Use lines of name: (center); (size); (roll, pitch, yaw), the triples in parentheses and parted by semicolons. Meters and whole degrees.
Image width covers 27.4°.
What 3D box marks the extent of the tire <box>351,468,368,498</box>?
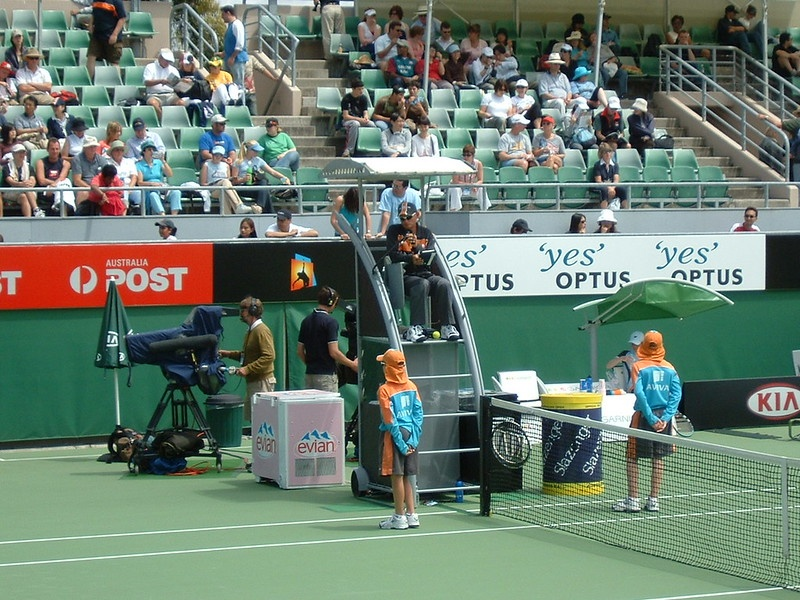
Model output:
tire: (-0.649, 2.947, 26.174); (0.172, 0.473, 0.424); (1, -3, -18)

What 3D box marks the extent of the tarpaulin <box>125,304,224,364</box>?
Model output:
tarpaulin: (-3.848, 0.594, 28.294); (2.015, 1.154, 0.729); (1, 13, -4)

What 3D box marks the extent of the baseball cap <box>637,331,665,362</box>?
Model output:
baseball cap: (3.926, 0.708, 25.650); (0.324, 0.322, 0.530); (4, 23, 11)

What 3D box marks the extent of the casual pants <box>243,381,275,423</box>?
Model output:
casual pants: (-2.462, 1.714, 27.970); (0.597, 1.057, 0.607); (1, -4, -13)

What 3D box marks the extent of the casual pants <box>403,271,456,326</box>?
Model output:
casual pants: (0.515, -0.050, 26.485); (0.649, 0.816, 0.696); (-7, 7, -22)

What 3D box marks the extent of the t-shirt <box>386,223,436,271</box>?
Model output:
t-shirt: (0.168, -0.782, 26.460); (0.589, 0.830, 0.210); (-22, 7, -23)

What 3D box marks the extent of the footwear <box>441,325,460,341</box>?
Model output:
footwear: (0.779, 0.553, 26.082); (0.154, 0.153, 0.343); (-2, -4, -19)

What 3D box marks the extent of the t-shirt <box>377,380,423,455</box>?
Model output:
t-shirt: (0.020, 1.799, 24.460); (0.599, 1.109, 0.492); (-6, 8, -29)

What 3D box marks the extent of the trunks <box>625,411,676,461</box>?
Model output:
trunks: (3.802, 2.131, 25.110); (0.703, 0.629, 0.755); (-1, 10, 8)

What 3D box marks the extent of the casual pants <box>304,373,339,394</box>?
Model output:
casual pants: (-1.349, 1.475, 27.921); (0.485, 0.503, 0.300); (1, -4, -11)

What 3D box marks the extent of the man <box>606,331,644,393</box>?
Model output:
man: (4.113, 1.353, 29.638); (0.484, 0.570, 1.045); (-14, -28, -5)

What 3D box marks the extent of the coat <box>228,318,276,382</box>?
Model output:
coat: (-2.453, 0.899, 27.941); (0.571, 0.992, 0.534); (-4, 9, -6)

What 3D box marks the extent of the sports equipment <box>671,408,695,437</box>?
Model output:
sports equipment: (4.914, 2.156, 28.527); (0.555, 0.557, 0.749); (1, -6, 0)

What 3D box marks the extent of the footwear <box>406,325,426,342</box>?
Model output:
footwear: (0.238, 0.585, 25.970); (0.333, 0.257, 0.159); (-2, 9, 2)

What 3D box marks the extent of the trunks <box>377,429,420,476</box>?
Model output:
trunks: (-0.075, 2.290, 24.533); (0.673, 0.866, 0.537); (4, -7, -44)
